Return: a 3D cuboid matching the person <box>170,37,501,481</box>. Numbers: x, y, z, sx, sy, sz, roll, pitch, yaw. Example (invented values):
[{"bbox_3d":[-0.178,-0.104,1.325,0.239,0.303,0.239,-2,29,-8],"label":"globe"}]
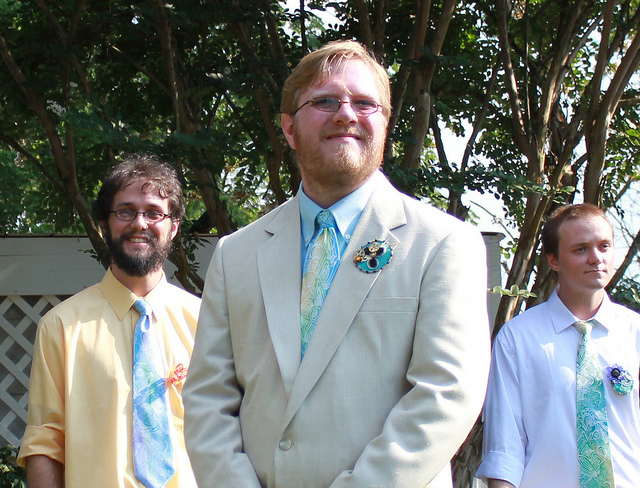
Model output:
[{"bbox_3d":[0.075,0.049,2.908,1.156,1.717,0.434,3,-2,13],"label":"person"}]
